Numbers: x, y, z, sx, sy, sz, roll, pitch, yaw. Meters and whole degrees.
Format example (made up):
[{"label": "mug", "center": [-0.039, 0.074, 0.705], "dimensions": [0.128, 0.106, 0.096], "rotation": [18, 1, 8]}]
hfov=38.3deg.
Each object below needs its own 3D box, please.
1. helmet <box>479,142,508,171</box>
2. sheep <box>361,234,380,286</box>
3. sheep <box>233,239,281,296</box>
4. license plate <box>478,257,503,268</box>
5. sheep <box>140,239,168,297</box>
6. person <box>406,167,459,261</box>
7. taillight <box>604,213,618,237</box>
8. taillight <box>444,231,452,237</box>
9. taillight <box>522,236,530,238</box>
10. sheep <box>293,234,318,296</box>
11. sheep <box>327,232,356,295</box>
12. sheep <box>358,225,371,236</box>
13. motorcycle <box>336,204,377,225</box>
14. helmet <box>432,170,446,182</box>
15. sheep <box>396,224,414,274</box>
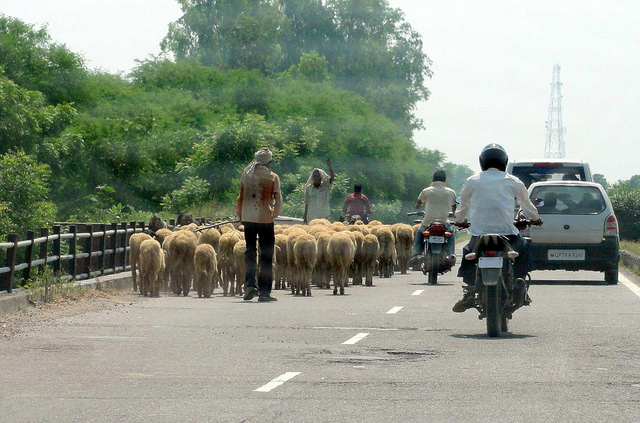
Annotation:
[{"label": "helmet", "center": [2.863, -0.876, 14.687], "dimensions": [0.312, 0.368, 0.390], "rotation": [3, -22, 30]}, {"label": "sheep", "center": [1.185, 1.141, 21.945], "dimensions": [0.400, 1.224, 0.746], "rotation": [2, -3, 4]}, {"label": "sheep", "center": [-1.437, 1.213, 19.919], "dimensions": [0.928, 1.206, 2.034], "rotation": [1, -3, 9]}, {"label": "license plate", "center": [2.537, 0.752, 13.729], "dimensions": [0.255, 0.168, 0.060], "rotation": [-1, -12, 17]}, {"label": "sheep", "center": [-3.519, 1.179, 19.617], "dimensions": [0.596, 1.222, 0.464], "rotation": [4, -4, -33]}, {"label": "person", "center": [2.691, -0.048, 22.712], "dimensions": [0.976, 2.470, 1.415], "rotation": [0, -1, 21]}, {"label": "taillight", "center": [6.797, 0.321, 21.620], "dimensions": [0.308, 0.264, 0.545], "rotation": [0, 7, 12]}, {"label": "taillight", "center": [3.055, 0.526, 22.029], "dimensions": [0.080, 0.107, 0.407], "rotation": [1, -3, 20]}, {"label": "taillight", "center": [4.530, 0.546, 20.320], "dimensions": [0.184, 0.050, 0.207], "rotation": [0, -2, 40]}, {"label": "sheep", "center": [-0.318, 1.113, 19.557], "dimensions": [0.452, 1.310, 0.691], "rotation": [2, -3, -2]}, {"label": "sheep", "center": [0.428, 1.103, 19.880], "dimensions": [0.536, 1.341, 0.531], "rotation": [2, -3, -1]}, {"label": "sheep", "center": [1.207, 0.468, 24.409], "dimensions": [0.164, 0.313, 0.180], "rotation": [-7, 10, 14]}, {"label": "motorcycle", "center": [1.200, 0.064, 33.444], "dimensions": [1.237, 1.105, 1.869], "rotation": [2, 2, 7]}, {"label": "helmet", "center": [2.978, -0.934, 23.008], "dimensions": [0.246, 0.299, 0.310], "rotation": [3, -22, 4]}, {"label": "sheep", "center": [2.400, 1.044, 26.115], "dimensions": [0.492, 1.377, 0.919], "rotation": [2, -3, 4]}]
